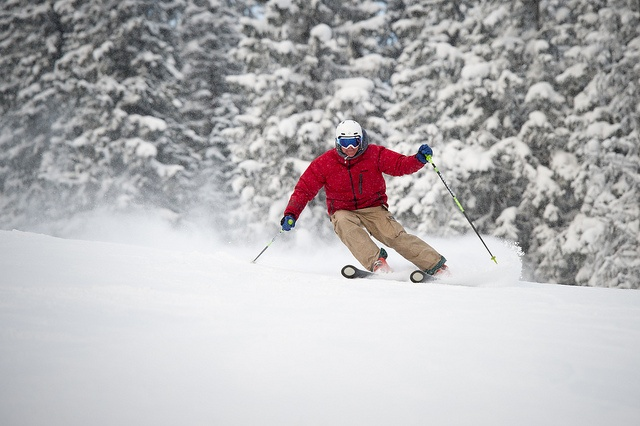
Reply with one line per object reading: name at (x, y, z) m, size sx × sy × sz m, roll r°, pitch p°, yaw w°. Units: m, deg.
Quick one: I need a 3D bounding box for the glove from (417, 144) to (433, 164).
glove at (2.002, -1.121, 14.869) m, size 0.273 × 0.332 × 0.143 m, roll 50°, pitch 17°, yaw 32°

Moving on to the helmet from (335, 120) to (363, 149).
helmet at (0.573, -1.535, 15.148) m, size 0.426 × 0.527 × 0.556 m, roll -4°, pitch 6°, yaw 1°

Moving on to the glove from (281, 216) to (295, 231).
glove at (-0.607, 0.195, 15.174) m, size 0.258 × 0.261 × 0.102 m, roll 32°, pitch 12°, yaw 22°
